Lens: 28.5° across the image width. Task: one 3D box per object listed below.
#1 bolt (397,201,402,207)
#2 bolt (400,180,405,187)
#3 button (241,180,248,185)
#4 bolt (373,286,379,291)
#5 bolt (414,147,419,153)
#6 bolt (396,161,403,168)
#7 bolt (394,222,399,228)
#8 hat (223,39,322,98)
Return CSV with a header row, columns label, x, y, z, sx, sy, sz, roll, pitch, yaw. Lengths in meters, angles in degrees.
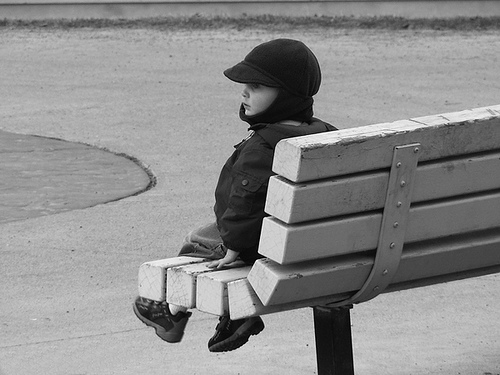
label,x,y,z,sx,sy,sz,roll,pitch,yaw
bolt,0.640,0.067,4.220,0.022,0.019,0.006,-8,25,-33
bolt,0.650,-0.022,4.203,0.022,0.024,0.006,-5,20,-32
button,-0.031,-0.027,4.417,0.025,0.023,0.008,4,-3,-22
bolt,0.549,0.439,4.322,0.021,0.018,0.005,0,21,-3
bolt,0.706,-0.166,4.190,0.029,0.025,0.007,-5,0,-2
bolt,0.631,-0.104,4.181,0.021,0.019,0.005,-11,23,-10
bolt,0.629,0.155,4.240,0.024,0.022,0.005,-3,19,-26
hat,0.118,-0.603,4.671,0.502,0.237,0.360,13,23,6
